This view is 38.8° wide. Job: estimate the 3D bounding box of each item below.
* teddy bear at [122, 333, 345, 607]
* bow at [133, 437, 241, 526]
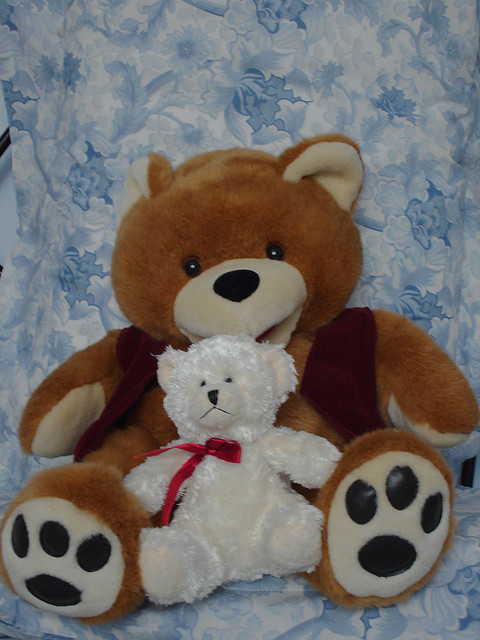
[{"bbox_3d":[-0.012,0.142,0.704,0.224,0.139,0.255,-13,57,-7],"label":"teddy bear"},{"bbox_3d":[-0.046,0.156,0.734,0.134,0.063,0.081,-11,23,11],"label":"bow"}]
